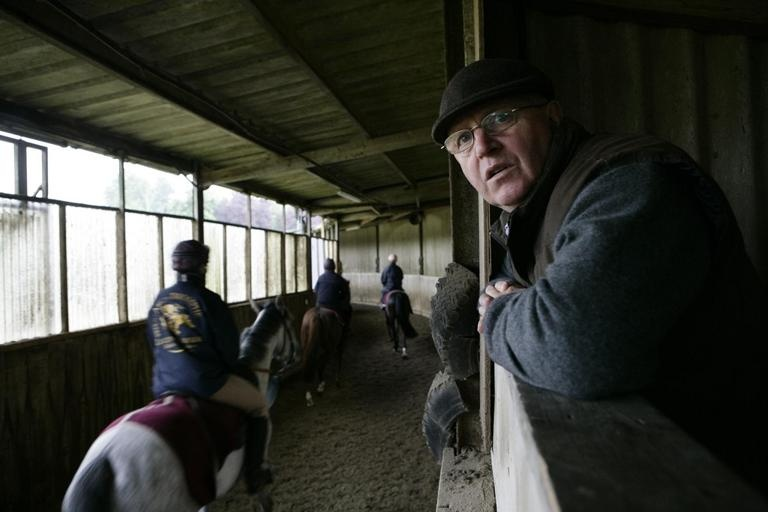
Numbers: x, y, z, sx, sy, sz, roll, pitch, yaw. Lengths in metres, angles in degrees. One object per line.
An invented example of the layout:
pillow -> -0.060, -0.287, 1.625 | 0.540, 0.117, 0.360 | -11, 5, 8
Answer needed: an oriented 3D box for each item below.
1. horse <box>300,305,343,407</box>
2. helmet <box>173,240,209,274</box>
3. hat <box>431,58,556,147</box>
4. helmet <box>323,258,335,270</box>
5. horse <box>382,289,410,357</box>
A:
horse -> -0.837, 1.341, 9.379 | 0.463, 1.521, 2.027 | 0, -4, 9
helmet -> -1.725, -0.005, 5.646 | 0.264, 0.280, 0.310 | -1, 6, 0
hat -> 0.688, -0.992, 3.867 | 0.579, 0.313, 0.495 | -14, 3, -27
helmet -> -0.842, 0.112, 9.734 | 0.141, 0.192, 0.183 | 4, 4, 12
horse -> 0.221, 1.000, 11.450 | 0.392, 1.352, 1.933 | -5, 2, -7
